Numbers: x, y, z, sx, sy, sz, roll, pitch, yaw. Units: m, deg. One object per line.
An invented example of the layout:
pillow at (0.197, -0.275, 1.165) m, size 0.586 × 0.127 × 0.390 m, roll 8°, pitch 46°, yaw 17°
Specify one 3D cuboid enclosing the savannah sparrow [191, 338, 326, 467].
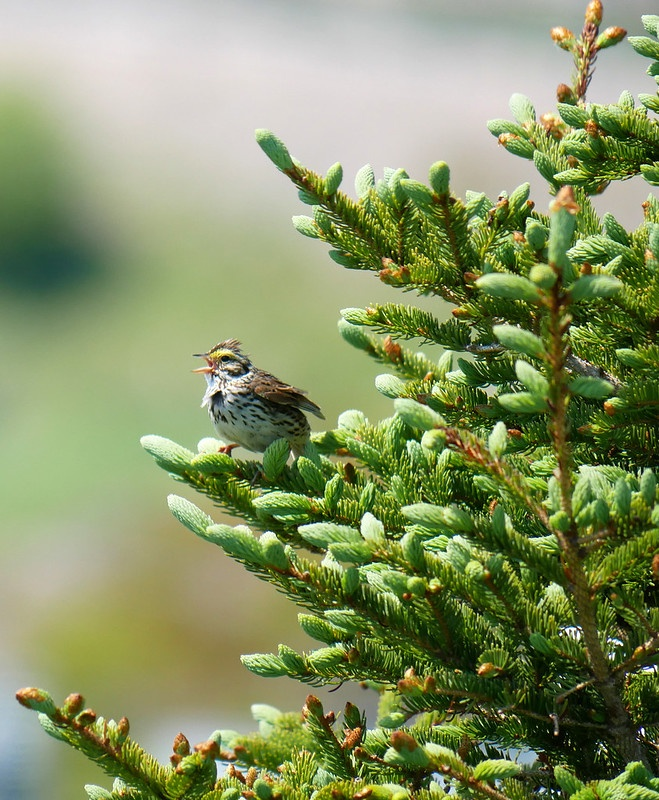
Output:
savannah sparrow at (-0.248, -0.002, 5.366) m, size 0.487 × 0.460 × 0.336 m, roll 0°, pitch -4°, yaw -39°
